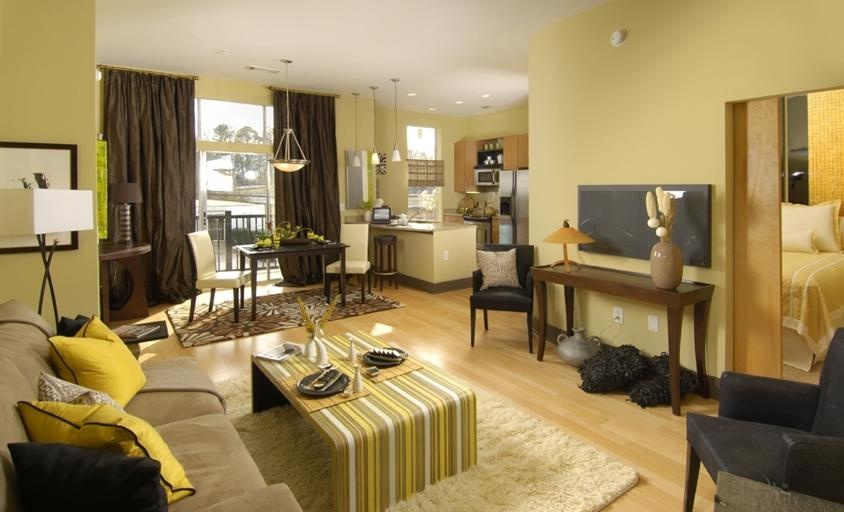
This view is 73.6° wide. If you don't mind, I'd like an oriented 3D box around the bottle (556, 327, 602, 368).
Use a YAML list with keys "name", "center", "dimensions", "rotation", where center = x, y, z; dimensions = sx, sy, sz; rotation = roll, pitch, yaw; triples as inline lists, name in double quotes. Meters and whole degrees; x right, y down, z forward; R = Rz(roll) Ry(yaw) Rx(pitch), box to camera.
- name: "bottle"
  center: [1.661, 0.939, 5.950]
  dimensions: [0.497, 0.363, 0.415]
  rotation: [-1, 16, 33]

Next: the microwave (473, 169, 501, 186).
- name: "microwave"
  center: [1.253, -1.544, 10.900]
  dimensions: [0.178, 0.296, 0.514]
  rotation: [-10, 12, -39]

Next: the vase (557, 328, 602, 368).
- name: "vase"
  center: [1.661, 0.942, 5.952]
  dimensions: [0.502, 0.369, 0.422]
  rotation: [1, 13, 42]

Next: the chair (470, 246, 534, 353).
- name: "chair"
  center: [0.928, 0.467, 6.514]
  dimensions: [0.739, 1.098, 0.738]
  rotation: [-1, 10, 11]

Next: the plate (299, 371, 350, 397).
- name: "plate"
  center: [-0.785, 1.020, 4.523]
  dimensions: [0.221, 0.036, 0.215]
  rotation: [-5, 14, -30]

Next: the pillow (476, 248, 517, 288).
- name: "pillow"
  center: [0.880, 0.154, 6.599]
  dimensions: [0.461, 0.442, 0.170]
  rotation: [-2, -7, 13]

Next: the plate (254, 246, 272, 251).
- name: "plate"
  center: [-2.084, -0.104, 7.425]
  dimensions: [0.236, 0.034, 0.298]
  rotation: [-5, 9, -19]

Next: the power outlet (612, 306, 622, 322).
- name: "power outlet"
  center: [2.052, 0.604, 5.942]
  dimensions: [0.023, 0.192, 0.145]
  rotation: [-9, 12, -34]

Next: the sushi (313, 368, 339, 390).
- name: "sushi"
  center: [-0.782, 0.997, 4.571]
  dimensions: [0.094, 0.050, 0.195]
  rotation: [5, 11, 19]

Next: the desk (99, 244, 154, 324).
- name: "desk"
  center: [-3.916, 0.387, 7.206]
  dimensions: [0.547, 0.503, 0.561]
  rotation: [-23, 7, -10]

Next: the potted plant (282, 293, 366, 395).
- name: "potted plant"
  center: [-0.709, 0.799, 4.888]
  dimensions: [0.491, 0.798, 0.847]
  rotation: [0, 6, -29]

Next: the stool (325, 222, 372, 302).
- name: "stool"
  center: [-1.091, 0.058, 8.457]
  dimensions: [0.650, 1.057, 0.695]
  rotation: [0, 9, 2]

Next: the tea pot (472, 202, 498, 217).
- name: "tea pot"
  center: [1.241, -0.942, 11.347]
  dimensions: [0.293, 0.311, 0.472]
  rotation: [0, 1, -39]

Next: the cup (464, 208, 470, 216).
- name: "cup"
  center: [0.912, -0.920, 11.572]
  dimensions: [0.121, 0.108, 0.185]
  rotation: [-2, 9, 5]

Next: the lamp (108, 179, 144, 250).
- name: "lamp"
  center: [-3.851, -0.574, 7.351]
  dimensions: [0.339, 0.782, 0.797]
  rotation: [-8, 11, -27]

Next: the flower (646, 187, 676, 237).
- name: "flower"
  center: [2.269, -0.410, 5.371]
  dimensions: [0.247, 0.503, 0.194]
  rotation: [-11, -8, 24]

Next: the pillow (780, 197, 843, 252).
- name: "pillow"
  center: [4.012, -0.290, 5.831]
  dimensions: [0.683, 0.634, 0.183]
  rotation: [2, -1, 12]

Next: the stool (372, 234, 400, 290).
- name: "stool"
  center: [-0.574, 0.098, 9.270]
  dimensions: [0.581, 0.715, 0.562]
  rotation: [-1, 3, -18]

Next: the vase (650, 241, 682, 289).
- name: "vase"
  center: [2.269, 0.080, 5.257]
  dimensions: [0.270, 0.432, 0.214]
  rotation: [1, 10, 21]

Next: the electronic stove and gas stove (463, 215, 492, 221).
- name: "electronic stove and gas stove"
  center: [1.098, -0.732, 11.079]
  dimensions: [0.275, 0.112, 0.649]
  rotation: [-9, 11, -37]

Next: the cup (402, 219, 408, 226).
- name: "cup"
  center: [-0.287, -0.561, 9.385]
  dimensions: [0.073, 0.066, 0.071]
  rotation: [0, -3, 0]

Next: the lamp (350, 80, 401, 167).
- name: "lamp"
  center: [-0.844, -2.286, 9.649]
  dimensions: [1.263, 1.821, 0.320]
  rotation: [1, 2, 9]

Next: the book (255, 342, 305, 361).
- name: "book"
  center: [-1.265, 0.860, 5.036]
  dimensions: [0.214, 0.039, 0.223]
  rotation: [11, 15, 39]

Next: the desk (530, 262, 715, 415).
- name: "desk"
  center: [2.007, 0.821, 5.516]
  dimensions: [0.503, 0.796, 1.284]
  rotation: [-9, 11, -35]
